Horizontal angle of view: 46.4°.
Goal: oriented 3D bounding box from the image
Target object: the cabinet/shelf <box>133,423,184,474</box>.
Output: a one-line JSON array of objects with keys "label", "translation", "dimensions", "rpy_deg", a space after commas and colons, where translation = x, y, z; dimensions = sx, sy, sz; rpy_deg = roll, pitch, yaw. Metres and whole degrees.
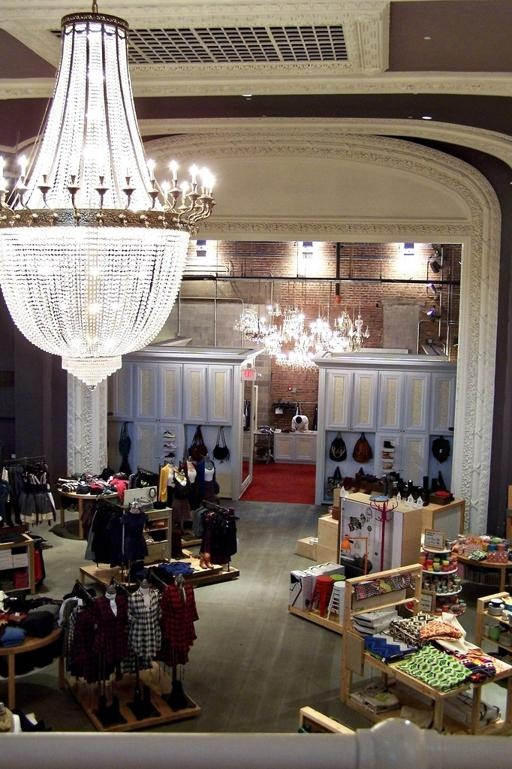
[{"label": "cabinet/shelf", "translation": [-1.908, 1.218, 11.803], "dimensions": [1.071, 1.051, 0.357], "rpy_deg": [0, 0, 14]}]

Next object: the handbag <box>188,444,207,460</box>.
[{"label": "handbag", "translation": [-1.147, 1.305, 11.615], "dimensions": [0.276, 0.382, 0.106], "rpy_deg": [-1, -3, -40]}]

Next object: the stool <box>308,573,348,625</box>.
[{"label": "stool", "translation": [0.973, 2.685, 7.572], "dimensions": [0.336, 0.551, 0.637], "rpy_deg": [1, 7, -28]}]

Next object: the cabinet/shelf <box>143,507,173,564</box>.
[{"label": "cabinet/shelf", "translation": [-1.491, 2.210, 8.834], "dimensions": [0.440, 0.808, 0.223], "rpy_deg": [-1, 8, -40]}]

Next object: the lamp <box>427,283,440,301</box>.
[{"label": "lamp", "translation": [4.705, -2.403, 15.672], "dimensions": [0.296, 0.443, 0.294], "rpy_deg": [3, 7, -10]}]

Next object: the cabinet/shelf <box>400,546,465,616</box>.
[{"label": "cabinet/shelf", "translation": [2.233, 2.304, 7.167], "dimensions": [0.512, 0.754, 0.506], "rpy_deg": [4, 6, 0]}]

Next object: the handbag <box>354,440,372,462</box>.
[{"label": "handbag", "translation": [2.146, 1.320, 11.885], "dimensions": [0.251, 0.423, 0.407], "rpy_deg": [5, -6, -40]}]

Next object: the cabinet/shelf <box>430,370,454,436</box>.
[{"label": "cabinet/shelf", "translation": [3.568, 0.319, 11.394], "dimensions": [0.436, 1.214, 0.150], "rpy_deg": [4, 6, 2]}]

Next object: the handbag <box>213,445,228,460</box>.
[{"label": "handbag", "translation": [-0.718, 1.353, 12.039], "dimensions": [0.303, 0.398, 0.108], "rpy_deg": [1, 1, -4]}]

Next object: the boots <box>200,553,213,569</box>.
[{"label": "boots", "translation": [-0.715, 2.563, 8.774], "dimensions": [0.202, 0.213, 0.191], "rpy_deg": [2, 7, -21]}]

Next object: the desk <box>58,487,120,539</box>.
[{"label": "desk", "translation": [-3.080, 2.184, 10.472], "dimensions": [0.816, 0.935, 1.522], "rpy_deg": [0, 8, -33]}]

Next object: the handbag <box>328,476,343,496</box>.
[{"label": "handbag", "translation": [1.563, 2.086, 11.932], "dimensions": [0.255, 0.396, 0.408], "rpy_deg": [5, 7, 7]}]

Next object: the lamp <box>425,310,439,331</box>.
[{"label": "lamp", "translation": [4.604, -1.684, 15.585], "dimensions": [0.375, 0.475, 0.199], "rpy_deg": [11, 3, 24]}]

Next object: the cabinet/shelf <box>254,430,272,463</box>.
[{"label": "cabinet/shelf", "translation": [0.208, 1.690, 15.911], "dimensions": [0.554, 0.921, 0.807], "rpy_deg": [1, 2, 4]}]
